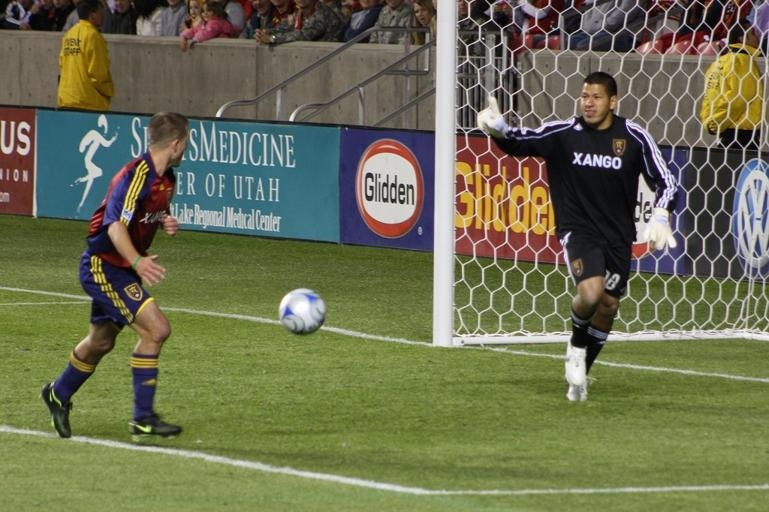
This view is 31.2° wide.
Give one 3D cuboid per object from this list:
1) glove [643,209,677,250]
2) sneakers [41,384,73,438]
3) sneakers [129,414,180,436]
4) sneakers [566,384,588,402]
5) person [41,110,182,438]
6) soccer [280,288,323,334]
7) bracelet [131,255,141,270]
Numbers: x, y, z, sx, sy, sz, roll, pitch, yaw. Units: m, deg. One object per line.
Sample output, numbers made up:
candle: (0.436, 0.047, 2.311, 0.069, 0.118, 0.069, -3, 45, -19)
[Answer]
glove: (2.122, -0.192, 10.765, 0.285, 0.369, 0.150, 0, -20, 4)
sneakers: (-2.390, 1.123, 10.130, 0.211, 0.372, 0.245, 0, 5, -17)
sneakers: (-1.680, 1.240, 10.161, 0.426, 0.170, 0.143, 0, -1, 0)
sneakers: (1.512, 1.077, 10.849, 0.162, 0.143, 0.141, 0, 0, -3)
person: (-1.925, 0.134, 10.097, 0.938, 2.365, 0.522, 1, 5, -11)
soccer: (-0.666, 0.461, 11.232, 0.265, 0.249, 0.293, 31, 53, 24)
bracelet: (-1.774, 0.048, 9.914, 0.072, 0.088, 0.089, -1, -31, -25)
